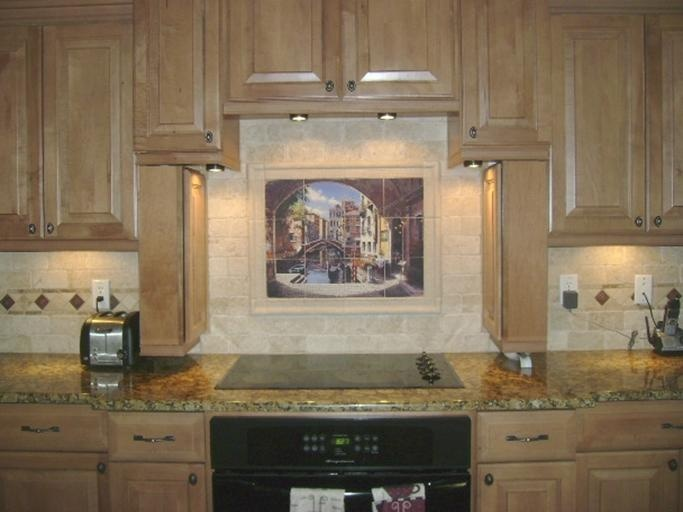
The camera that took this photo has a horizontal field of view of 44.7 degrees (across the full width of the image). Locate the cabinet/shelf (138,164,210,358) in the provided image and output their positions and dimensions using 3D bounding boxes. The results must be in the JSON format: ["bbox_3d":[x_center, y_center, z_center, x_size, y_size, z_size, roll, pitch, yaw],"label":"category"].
[{"bbox_3d":[-0.818,0.024,4.231,0.212,0.943,0.441,2,1,29],"label":"cabinet/shelf"}]
